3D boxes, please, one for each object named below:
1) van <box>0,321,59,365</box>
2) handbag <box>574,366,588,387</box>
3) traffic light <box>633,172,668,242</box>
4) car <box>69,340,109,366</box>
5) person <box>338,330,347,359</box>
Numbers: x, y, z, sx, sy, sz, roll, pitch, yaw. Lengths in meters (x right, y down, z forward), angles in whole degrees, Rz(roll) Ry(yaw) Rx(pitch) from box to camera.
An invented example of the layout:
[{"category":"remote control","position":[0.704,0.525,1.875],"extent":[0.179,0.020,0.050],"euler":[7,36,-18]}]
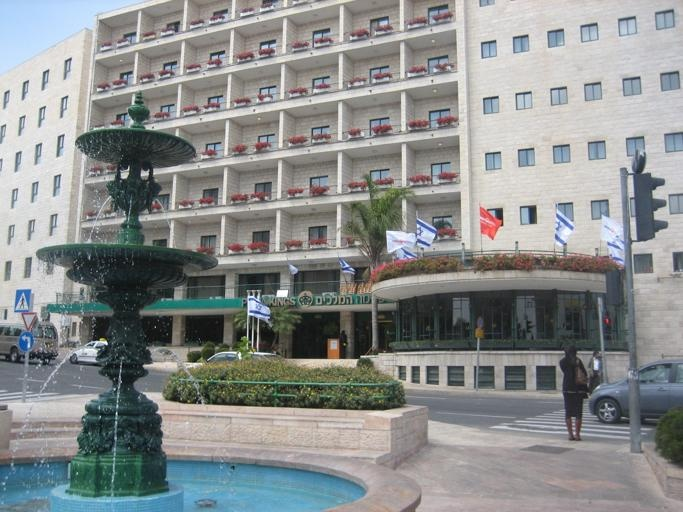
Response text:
[{"category":"van","position":[-19.313,5.176,44.382],"extent":[3.514,2.453,2.105],"euler":[-3,-11,8]},{"category":"handbag","position":[6.981,3.541,21.209],"extent":[0.215,0.463,0.501],"euler":[-14,-19,35]},{"category":"traffic light","position":[8.443,-1.362,19.915],"extent":[0.842,1.903,1.038],"euler":[-6,-12,23]},{"category":"car","position":[-15.829,5.992,44.831],"extent":[1.021,1.410,3.979],"euler":[7,-14,-39]},{"category":"person","position":[0.137,6.133,50.866],"extent":[0.510,1.929,0.682],"euler":[-4,-11,11]}]
